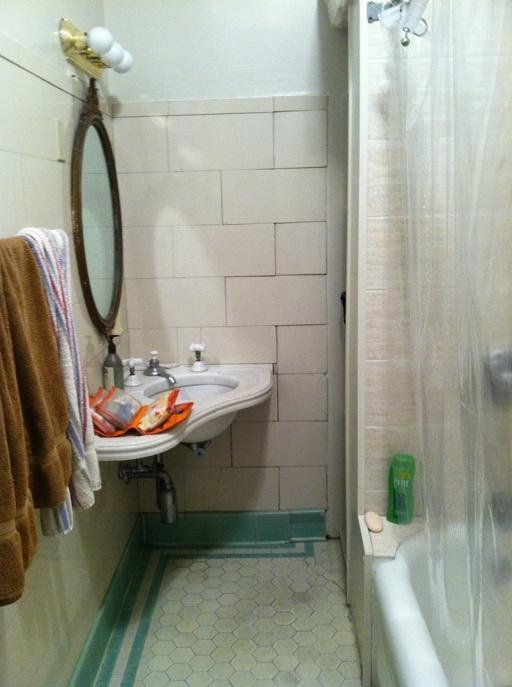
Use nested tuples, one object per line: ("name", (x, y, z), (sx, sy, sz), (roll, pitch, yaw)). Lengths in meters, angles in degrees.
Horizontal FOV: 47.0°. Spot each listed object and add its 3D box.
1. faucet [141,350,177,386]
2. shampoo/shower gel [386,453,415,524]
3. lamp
("faucet", (-0.363, 0.089, 2.218), (0.087, 0.086, 0.161), (-7, 18, -37))
("shampoo/shower gel", (0.456, 0.444, 1.783), (0.075, 0.199, 0.075), (4, 9, 17))
("lamp", (-0.482, -0.886, 1.795), (0.140, 0.110, 0.364), (-2, 12, -1))
